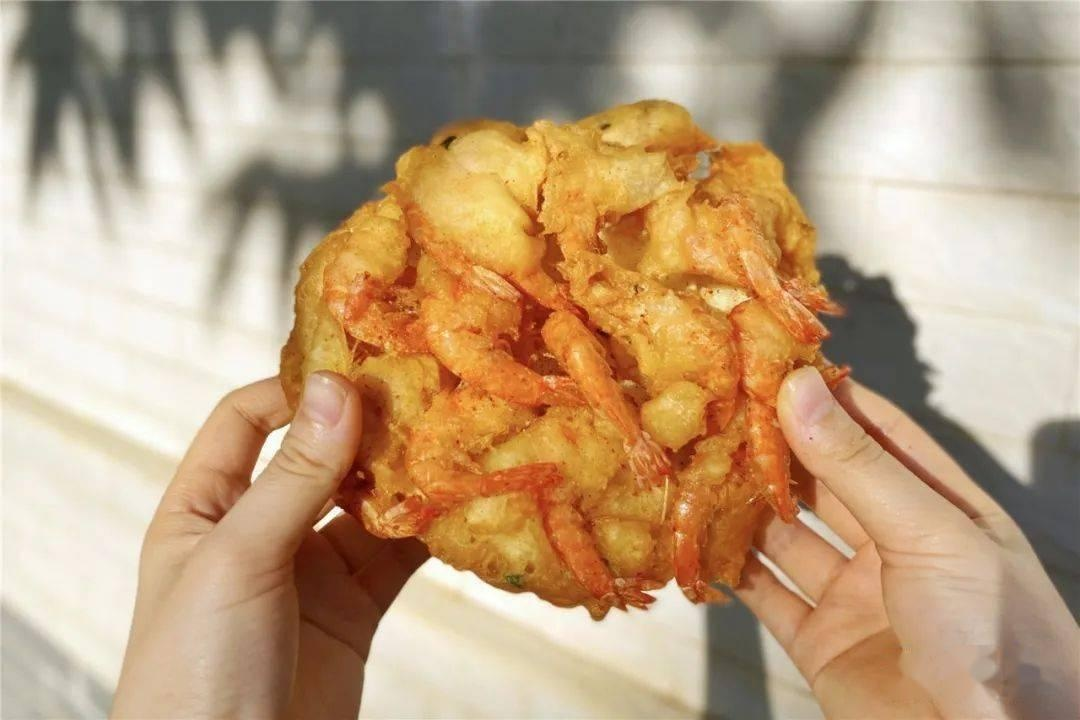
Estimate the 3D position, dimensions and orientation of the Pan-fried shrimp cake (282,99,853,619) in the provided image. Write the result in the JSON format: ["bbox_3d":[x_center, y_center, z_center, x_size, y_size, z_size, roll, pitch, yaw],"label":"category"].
[{"bbox_3d":[0.114,0.049,4.259,2.050,1.994,0.868,2,25,0],"label":"Pan-fried shrimp cake"}]
